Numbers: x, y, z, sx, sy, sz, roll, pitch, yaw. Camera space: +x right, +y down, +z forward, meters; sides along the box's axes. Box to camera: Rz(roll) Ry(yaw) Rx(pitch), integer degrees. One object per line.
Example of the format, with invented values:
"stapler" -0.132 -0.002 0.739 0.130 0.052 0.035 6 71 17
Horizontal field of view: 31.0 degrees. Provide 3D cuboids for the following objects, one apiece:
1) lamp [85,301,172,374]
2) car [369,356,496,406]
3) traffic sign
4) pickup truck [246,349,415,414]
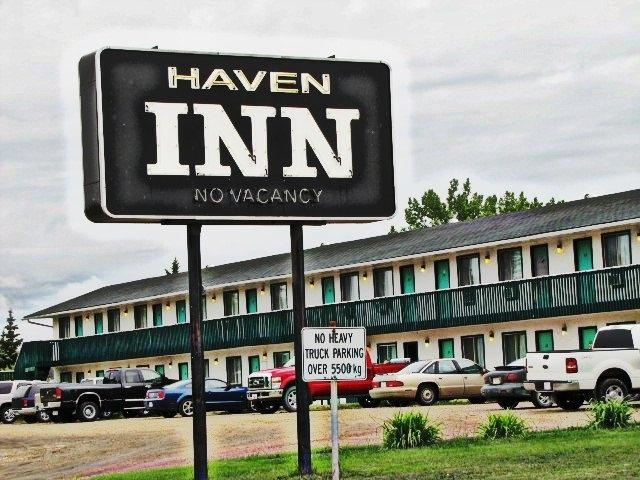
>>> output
"lamp" -10.025 5.308 61.581 3.750 2.345 0.522 -9 -13 36
"car" 3.583 4.793 38.775 3.621 1.097 1.630 -3 -2 -29
"traffic sign" 0.196 1.892 19.011 1.019 0.855 0.196 -2 -10 -10
"pickup truck" 0.483 5.004 41.495 6.740 2.624 2.632 3 -9 -36
